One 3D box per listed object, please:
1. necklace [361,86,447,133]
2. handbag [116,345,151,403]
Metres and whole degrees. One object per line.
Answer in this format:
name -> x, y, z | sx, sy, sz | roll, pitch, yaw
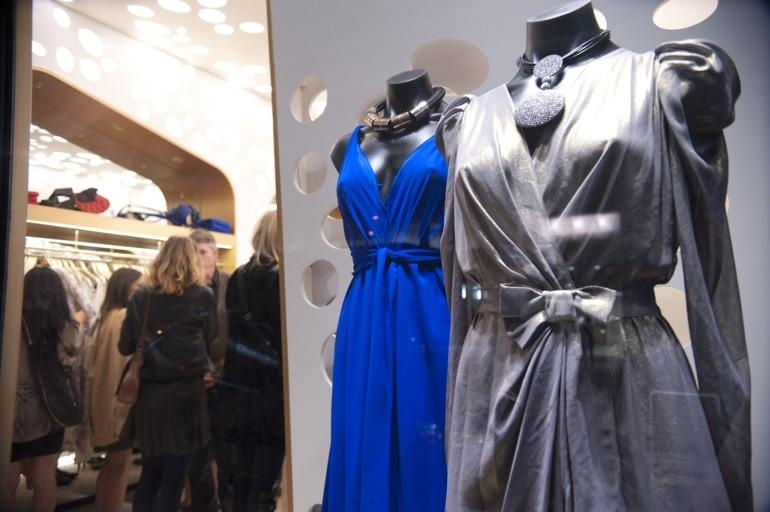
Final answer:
necklace -> 0.085, -0.549, 3.496 | 0.229, 0.066, 0.201 | -36, 18, -17
handbag -> -1.147, 0.524, 4.145 | 0.100, 0.032, 0.354 | 5, -55, -25
